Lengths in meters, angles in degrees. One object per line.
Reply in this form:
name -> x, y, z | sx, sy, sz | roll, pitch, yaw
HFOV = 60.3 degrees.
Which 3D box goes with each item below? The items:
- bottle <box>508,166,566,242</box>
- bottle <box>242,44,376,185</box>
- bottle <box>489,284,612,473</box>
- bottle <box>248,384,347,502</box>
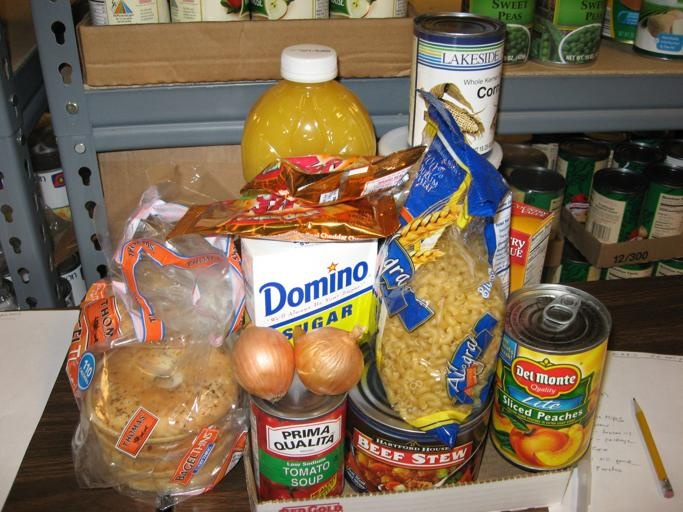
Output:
bottle -> 0.384, -0.076, 1.217 | 0.074, 0.194, 0.103 | -6, 29, -11
bottle -> -0.063, -0.240, 0.997 | 0.205, 0.300, 0.155 | -4, 39, -5
bottle -> 0.290, 0.175, 0.834 | 0.151, 0.262, 0.148 | -1, 30, 1
bottle -> -0.072, 0.262, 0.806 | 0.147, 0.185, 0.065 | 4, 23, 13
